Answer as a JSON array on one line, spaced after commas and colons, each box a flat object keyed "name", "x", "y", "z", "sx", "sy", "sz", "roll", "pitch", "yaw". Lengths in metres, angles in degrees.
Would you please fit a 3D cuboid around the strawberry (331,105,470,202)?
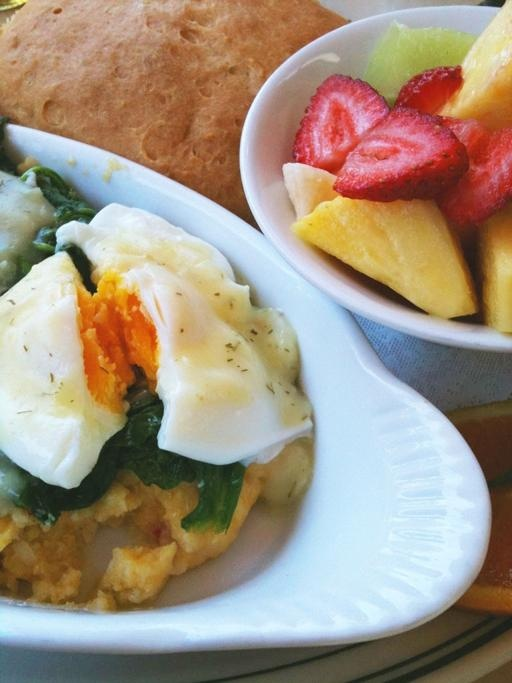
[{"name": "strawberry", "x": 0.127, "y": -0.186, "z": 0.742, "sx": 0.118, "sy": 0.064, "sz": 0.125, "roll": -13, "pitch": 57, "yaw": -5}]
